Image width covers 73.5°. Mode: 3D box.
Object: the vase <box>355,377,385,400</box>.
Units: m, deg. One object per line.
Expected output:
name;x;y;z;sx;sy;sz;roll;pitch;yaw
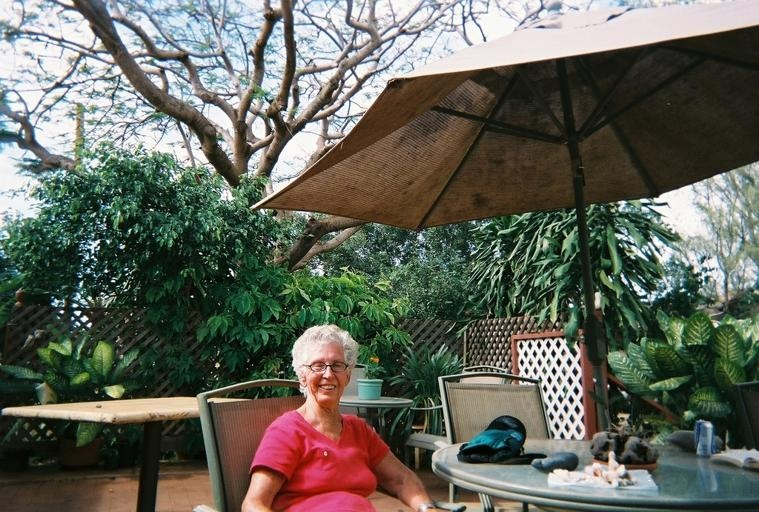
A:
vase;-0.099;1.193;4.607;0.200;0.120;0.203;-7;-18;24

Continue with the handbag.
handbag;0.547;0.851;2.367;0.319;0.158;0.388;-2;-6;24
